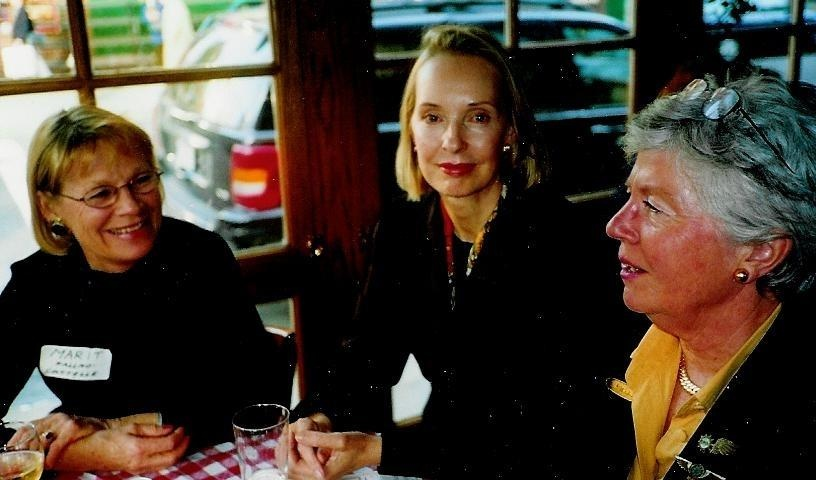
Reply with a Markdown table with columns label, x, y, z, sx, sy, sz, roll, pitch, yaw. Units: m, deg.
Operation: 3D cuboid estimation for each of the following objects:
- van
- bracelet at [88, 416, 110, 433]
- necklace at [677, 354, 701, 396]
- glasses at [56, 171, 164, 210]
| label | x | y | z | sx | sy | sz | roll | pitch | yaw |
| --- | --- | --- | --- | --- | --- | --- | --- | --- | --- |
| van | 0.332 | -0.806 | 3.934 | 2.699 | 0.905 | 1.154 | -11 | 16 | -15 |
| bracelet | -1.057 | 0.612 | 2.717 | 0.058 | 0.015 | 0.042 | 7 | 31 | -16 |
| necklace | 0.911 | 0.445 | 2.624 | 0.076 | 0.087 | 0.027 | -7 | -4 | 34 |
| glasses | -1.086 | -0.185 | 2.927 | 0.365 | 0.114 | 0.081 | -9 | 18 | -23 |
